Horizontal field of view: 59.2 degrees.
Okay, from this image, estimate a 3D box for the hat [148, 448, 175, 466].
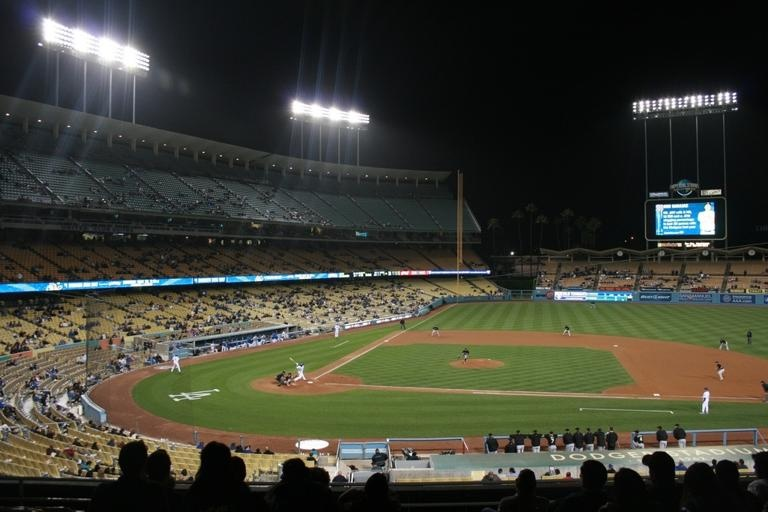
[{"bbox_3d":[-11.751,10.514,35.323,1.095,0.808,0.400,-3,15,-9],"label":"hat"}]
